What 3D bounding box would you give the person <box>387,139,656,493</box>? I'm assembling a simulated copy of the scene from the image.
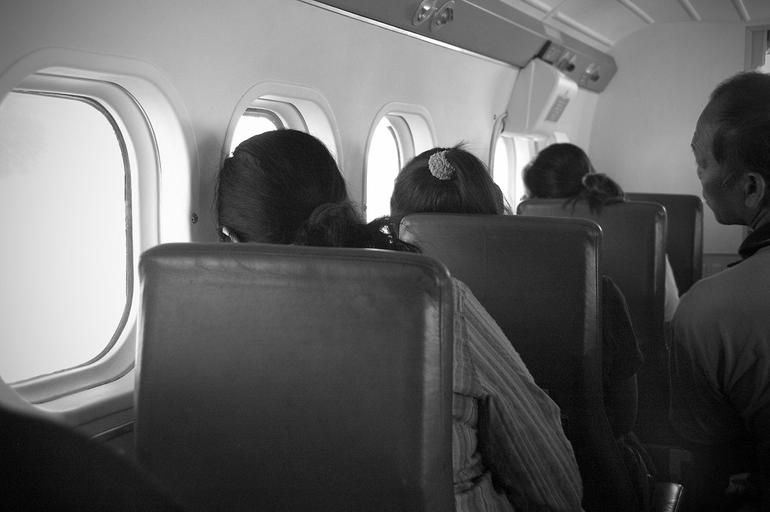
[{"bbox_3d":[0.695,0.085,2.649,0.843,1.380,1.152,-1,37,23],"label":"person"}]
